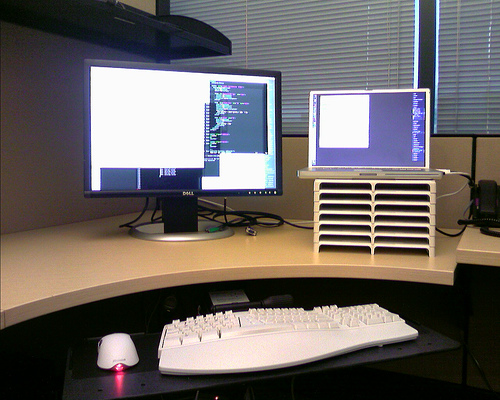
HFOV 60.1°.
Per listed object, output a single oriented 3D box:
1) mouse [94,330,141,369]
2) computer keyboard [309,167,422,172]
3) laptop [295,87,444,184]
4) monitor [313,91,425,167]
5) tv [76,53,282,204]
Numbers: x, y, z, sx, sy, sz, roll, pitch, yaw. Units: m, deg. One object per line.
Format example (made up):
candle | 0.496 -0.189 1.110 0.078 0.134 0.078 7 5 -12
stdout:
mouse | -0.296 0.325 0.952 0.085 0.039 0.125 2 20 -25
computer keyboard | 0.344 -0.087 1.273 0.326 0.008 0.109 1 12 8
laptop | 0.384 -0.183 1.408 0.487 0.342 0.452 2 12 10
monitor | 0.378 -0.215 1.323 0.236 0.160 0.005 0 1 10
tv | -0.235 -0.217 1.373 0.562 0.394 0.038 -1 0 -16
